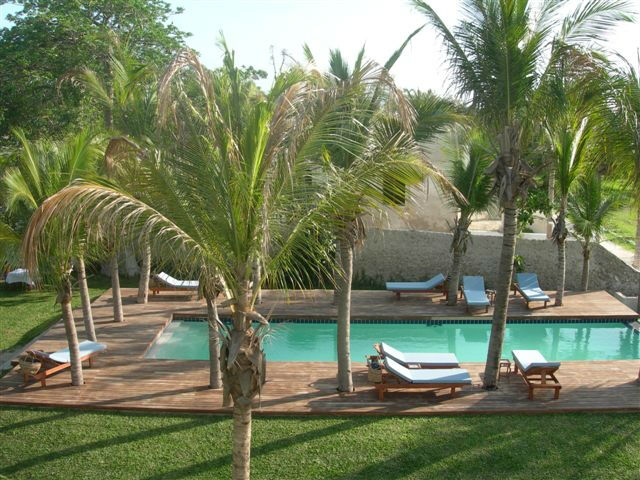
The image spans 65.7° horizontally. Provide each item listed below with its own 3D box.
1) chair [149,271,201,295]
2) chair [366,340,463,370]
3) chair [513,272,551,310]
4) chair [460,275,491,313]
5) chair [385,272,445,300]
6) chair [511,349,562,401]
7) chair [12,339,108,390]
[{"bbox_3d":[-5.114,1.512,17.418,1.558,0.778,1.106,0,0,-24],"label":"chair"},{"bbox_3d":[2.229,2.831,11.476,1.546,0.495,0.844,-2,6,-1],"label":"chair"},{"bbox_3d":[7.063,1.638,16.725,0.629,0.790,1.667,-3,12,5],"label":"chair"},{"bbox_3d":[5.054,1.768,16.244,0.597,0.619,1.391,-1,12,5],"label":"chair"},{"bbox_3d":[3.314,1.588,17.253,1.752,0.700,0.933,1,4,2],"label":"chair"},{"bbox_3d":[4.751,2.871,10.990,0.495,0.606,1.604,0,11,8],"label":"chair"},{"bbox_3d":[-5.895,2.775,11.561,0.621,0.817,2.005,5,8,22],"label":"chair"}]
